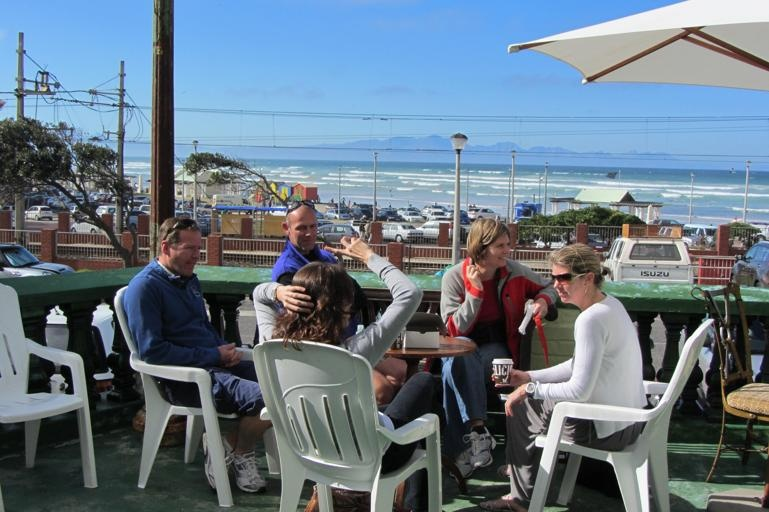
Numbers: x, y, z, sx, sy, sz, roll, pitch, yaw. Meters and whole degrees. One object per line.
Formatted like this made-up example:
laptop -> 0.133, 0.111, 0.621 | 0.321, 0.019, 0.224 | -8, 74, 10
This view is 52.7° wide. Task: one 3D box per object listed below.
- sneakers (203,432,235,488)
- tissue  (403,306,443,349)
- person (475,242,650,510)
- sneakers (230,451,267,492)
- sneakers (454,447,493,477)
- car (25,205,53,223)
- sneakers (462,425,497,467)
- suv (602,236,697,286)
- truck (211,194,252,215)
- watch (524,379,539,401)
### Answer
sneakers -> -1.294, 1.604, 6.064 | 0.199, 0.467, 0.164 | -18, -7, 25
tissue  -> 0.321, 0.597, 6.374 | 0.265, 0.187, 0.280 | 2, 4, 6
person -> 1.380, 0.961, 5.713 | 1.038, 2.067, 0.459 | 5, 5, 17
sneakers -> -1.076, 1.729, 6.181 | 0.167, 0.191, 0.419 | 1, 23, -41
sneakers -> 0.753, 1.678, 6.538 | 0.149, 0.184, 0.420 | -24, 17, 42
car -> -31.040, -3.732, 69.953 | 2.804, 1.396, 1.758 | 8, 10, 30
sneakers -> 0.799, 1.606, 6.492 | 0.155, 0.441, 0.210 | -24, -50, 38
suv -> 6.728, 0.144, 19.716 | 1.283, 1.172, 2.200 | -1, 5, 6
truck -> -12.038, -4.061, 60.870 | 4.177, 2.219, 2.317 | 0, 8, -11
watch -> 1.077, 0.995, 5.698 | 0.080, 0.124, 0.114 | 9, -13, 19
